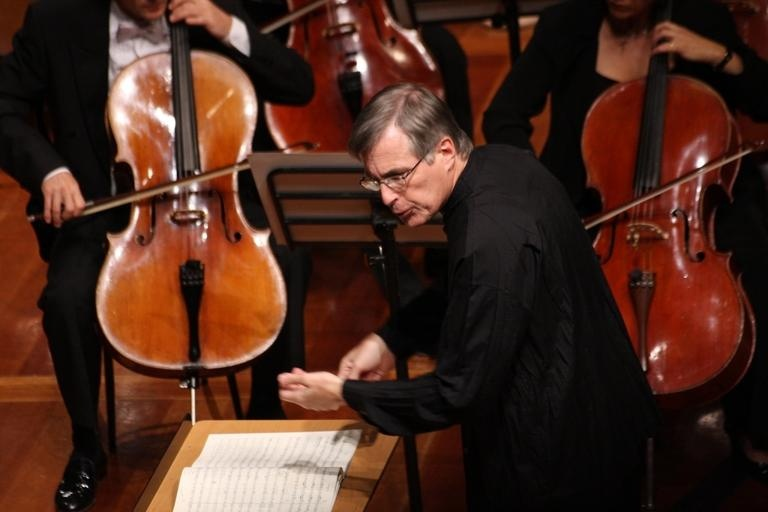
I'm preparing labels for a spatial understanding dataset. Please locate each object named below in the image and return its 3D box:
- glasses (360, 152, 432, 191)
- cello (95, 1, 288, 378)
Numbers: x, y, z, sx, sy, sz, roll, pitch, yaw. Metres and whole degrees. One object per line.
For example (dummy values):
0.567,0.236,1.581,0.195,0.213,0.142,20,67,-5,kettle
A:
0.024,-0.242,2.454,0.205,0.096,0.037,1,19,19,glasses
-0.778,-0.201,3.169,0.589,1.499,0.346,-3,-8,-8,cello
